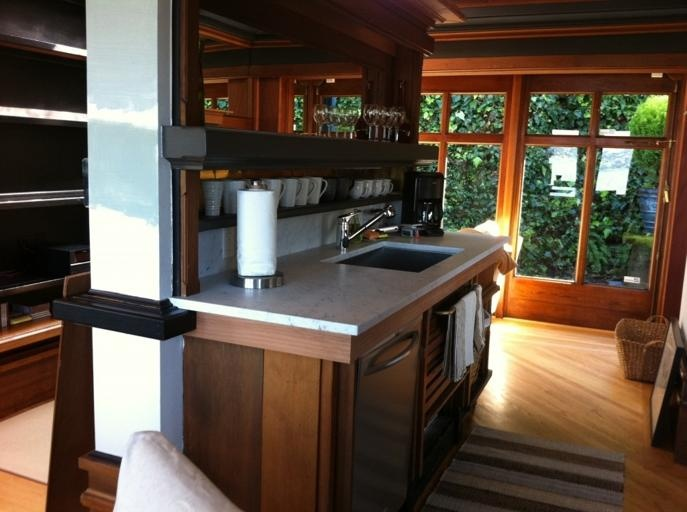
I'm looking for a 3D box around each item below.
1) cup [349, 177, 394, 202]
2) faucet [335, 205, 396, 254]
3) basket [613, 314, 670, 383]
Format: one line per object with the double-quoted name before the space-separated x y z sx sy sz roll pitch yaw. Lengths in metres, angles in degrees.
"cup" 0.181 -0.428 3.499 0.148 0.097 0.273 -2 1 29
"faucet" 0.103 -0.175 3.250 0.137 0.218 0.583 11 15 32
"basket" 2.520 0.763 4.583 0.506 0.402 0.586 2 4 31
